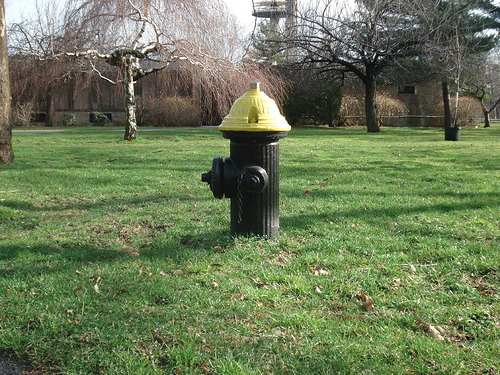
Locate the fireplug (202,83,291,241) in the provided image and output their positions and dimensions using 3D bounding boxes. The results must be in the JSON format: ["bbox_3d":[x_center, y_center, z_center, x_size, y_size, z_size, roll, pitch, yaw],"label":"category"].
[{"bbox_3d":[0.006,-0.345,8.041,1.032,2.173,0.445,0,3,4],"label":"fireplug"}]
